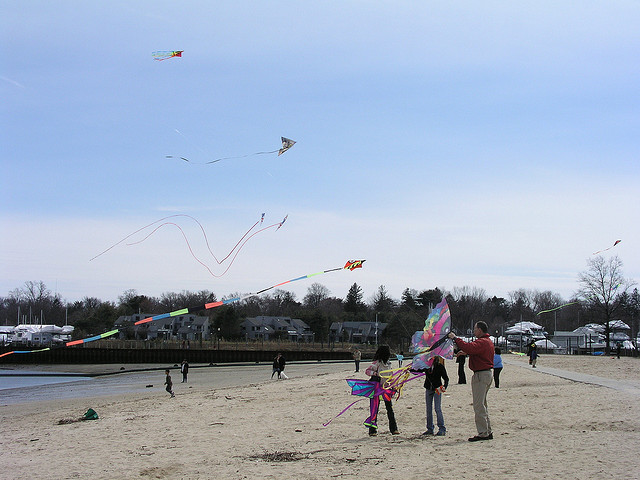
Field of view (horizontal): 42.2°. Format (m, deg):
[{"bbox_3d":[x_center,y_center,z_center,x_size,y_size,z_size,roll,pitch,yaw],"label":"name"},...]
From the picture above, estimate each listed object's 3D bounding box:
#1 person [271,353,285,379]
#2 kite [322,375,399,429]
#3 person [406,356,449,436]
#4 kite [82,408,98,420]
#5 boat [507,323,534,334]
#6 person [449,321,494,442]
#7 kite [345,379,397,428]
[{"bbox_3d":[-2.797,8.311,55.003,0.733,1.480,2.721,2,-6,-4],"label":"person"},{"bbox_3d":[1.611,5.689,29.712,1.871,0.926,1.844,-18,-16,-6],"label":"kite"},{"bbox_3d":[4.010,5.491,29.479,1.093,2.772,1.201,1,-6,7],"label":"person"},{"bbox_3d":[-9.877,7.418,35.555,0.475,0.217,0.475,-2,-3,14],"label":"kite"},{"bbox_3d":[24.307,11.006,99.947,2.795,1.129,1.995,2,-3,13],"label":"boat"},{"bbox_3d":[5.325,4.838,28.336,1.172,3.982,0.946,2,-6,5],"label":"person"},{"bbox_3d":[1.969,5.763,29.529,2.150,2.013,0.319,5,0,36],"label":"kite"}]
